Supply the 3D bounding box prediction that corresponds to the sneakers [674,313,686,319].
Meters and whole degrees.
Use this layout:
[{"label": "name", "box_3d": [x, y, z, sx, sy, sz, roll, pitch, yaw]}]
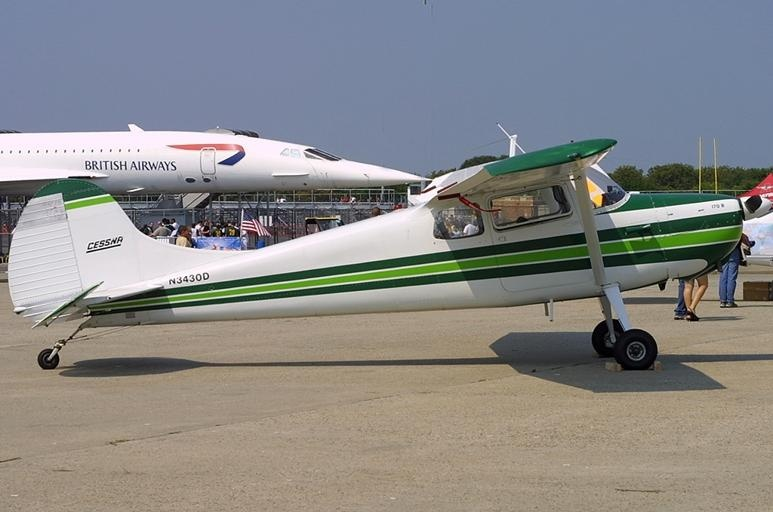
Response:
[{"label": "sneakers", "box_3d": [5.292, 1.099, 14.656, 0.240, 0.074, 0.068, 2, -1, 6]}]
